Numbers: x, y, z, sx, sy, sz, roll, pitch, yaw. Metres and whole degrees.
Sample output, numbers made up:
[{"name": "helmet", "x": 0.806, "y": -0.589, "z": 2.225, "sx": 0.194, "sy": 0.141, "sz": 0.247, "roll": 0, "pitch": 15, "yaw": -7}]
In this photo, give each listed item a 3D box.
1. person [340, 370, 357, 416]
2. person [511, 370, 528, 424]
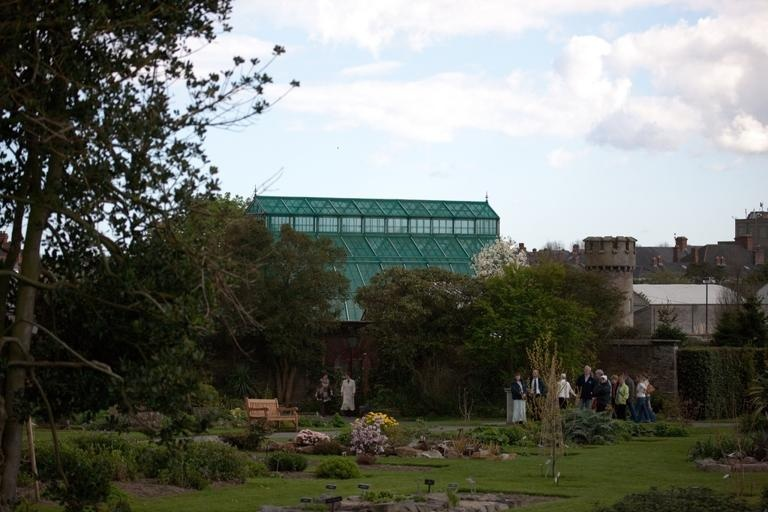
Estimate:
[{"name": "person", "x": -1.404, "y": 5.285, "z": 48.050, "sx": 0.606, "sy": 1.646, "sz": 1.850, "roll": -1, "pitch": -10, "yaw": -3}, {"name": "person", "x": 4.182, "y": 4.396, "z": 38.617, "sx": 0.461, "sy": 1.651, "sz": 1.759, "roll": -2, "pitch": -10, "yaw": 7}]
